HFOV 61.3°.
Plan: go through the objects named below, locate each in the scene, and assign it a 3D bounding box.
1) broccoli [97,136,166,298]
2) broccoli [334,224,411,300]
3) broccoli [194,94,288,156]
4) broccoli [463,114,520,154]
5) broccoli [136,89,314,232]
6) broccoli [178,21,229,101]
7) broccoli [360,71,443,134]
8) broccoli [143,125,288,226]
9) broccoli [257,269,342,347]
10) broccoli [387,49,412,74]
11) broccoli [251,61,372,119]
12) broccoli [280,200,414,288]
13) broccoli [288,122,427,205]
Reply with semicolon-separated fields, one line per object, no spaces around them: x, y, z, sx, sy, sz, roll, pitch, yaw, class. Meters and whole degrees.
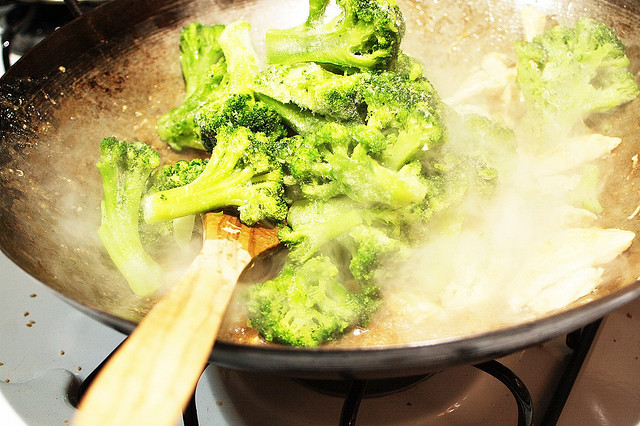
-0.749;0.004;2.166;0.271;0.174;0.636;-6;79;-11;broccoli
0.207;0.180;2.073;0.227;0.313;0.099;-36;41;4;broccoli
-0.317;-0.353;2.132;0.259;0.100;0.232;-7;43;-4;broccoli
0.657;-0.315;2.140;0.209;0.133;0.050;29;99;12;broccoli
-0.389;-0.074;2.068;0.541;0.224;0.438;-16;34;-28;broccoli
-0.533;-0.705;2.439;0.226;0.089;0.331;2;78;7;broccoli
0.272;-0.422;1.989;0.246;0.082;0.273;27;60;9;broccoli
-0.368;-0.111;1.980;0.445;0.209;0.348;-19;87;-11;broccoli
-0.062;0.361;1.943;0.261;0.084;0.276;20;73;-14;broccoli
0.334;-0.628;2.227;0.037;0.101;0.098;-12;33;30;broccoli
-0.045;-0.466;2.083;0.364;0.100;0.232;8;77;12;broccoli
0.090;0.100;1.882;0.405;0.159;0.343;12;97;-4;broccoli
0.136;-0.155;1.937;0.437;0.122;0.279;30;90;9;broccoli
